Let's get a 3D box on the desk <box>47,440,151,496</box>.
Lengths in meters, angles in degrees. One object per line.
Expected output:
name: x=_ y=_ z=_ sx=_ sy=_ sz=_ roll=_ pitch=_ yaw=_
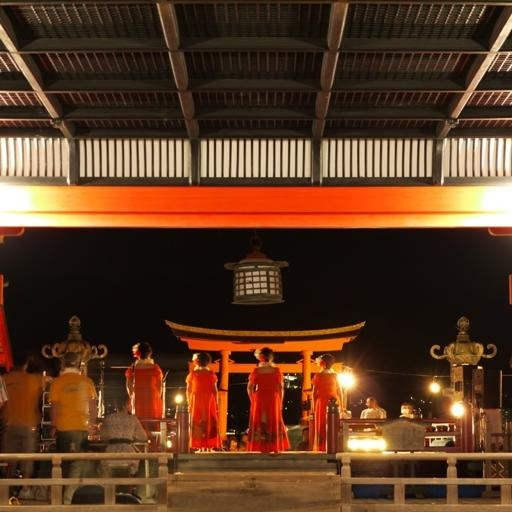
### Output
desk: x=-1.192 y=1.648 z=7.738 sx=0.927 sy=0.374 sz=0.549 roll=0 pitch=-31 yaw=-2

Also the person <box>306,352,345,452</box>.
person: x=0.785 y=1.533 z=10.264 sx=0.436 sy=1.001 sz=0.351 roll=-3 pitch=-14 yaw=39

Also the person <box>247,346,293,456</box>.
person: x=0.128 y=1.474 z=10.209 sx=0.401 sy=1.036 sz=0.494 roll=0 pitch=-16 yaw=1

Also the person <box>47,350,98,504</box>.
person: x=-1.454 y=1.346 z=7.840 sx=0.359 sy=1.157 sz=1.042 roll=4 pitch=-15 yaw=-10

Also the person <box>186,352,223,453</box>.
person: x=-0.542 y=1.484 z=10.346 sx=0.355 sy=1.048 sz=0.606 roll=1 pitch=-15 yaw=-1
